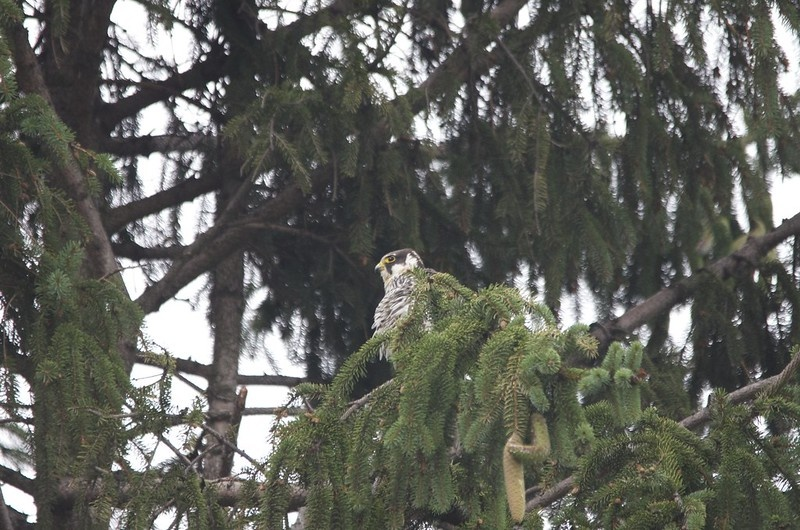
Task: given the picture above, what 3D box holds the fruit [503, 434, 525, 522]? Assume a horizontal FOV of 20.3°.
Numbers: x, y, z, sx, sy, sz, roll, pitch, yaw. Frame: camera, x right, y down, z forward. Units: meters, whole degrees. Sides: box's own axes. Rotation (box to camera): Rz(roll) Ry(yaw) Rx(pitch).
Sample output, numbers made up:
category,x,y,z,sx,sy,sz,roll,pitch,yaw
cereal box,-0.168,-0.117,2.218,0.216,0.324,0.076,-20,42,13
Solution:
category,x,y,z,sx,sy,sz,roll,pitch,yaw
fruit,0.859,1.581,16.833,0.159,0.654,0.247,0,-24,2
